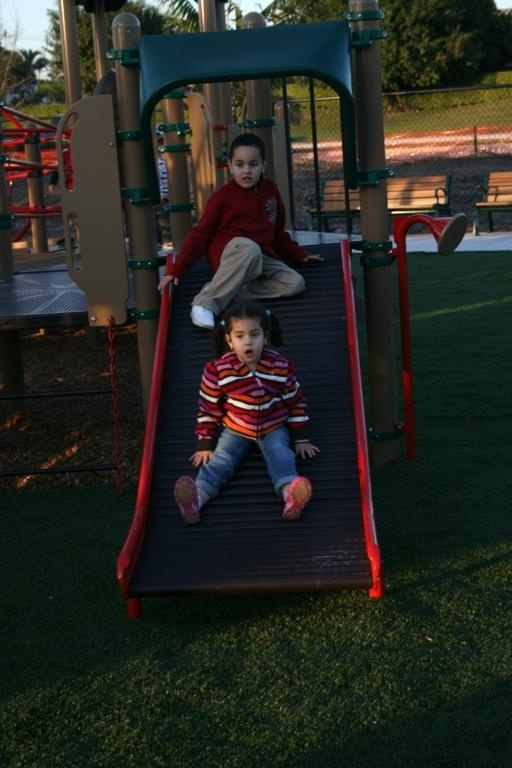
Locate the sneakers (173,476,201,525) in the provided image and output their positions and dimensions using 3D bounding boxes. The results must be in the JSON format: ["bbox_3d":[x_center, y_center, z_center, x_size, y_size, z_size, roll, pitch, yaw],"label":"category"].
[{"bbox_3d":[-0.246,0.417,2.417,0.074,0.194,0.078,-6,15,-3],"label":"sneakers"}]

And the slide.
[{"bbox_3d":[-0.039,0.090,2.787,0.946,0.983,1.533,-2,9,6],"label":"slide"}]

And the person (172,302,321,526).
[{"bbox_3d":[-0.036,0.064,2.693,0.583,0.638,0.837,1,34,-1],"label":"person"}]
